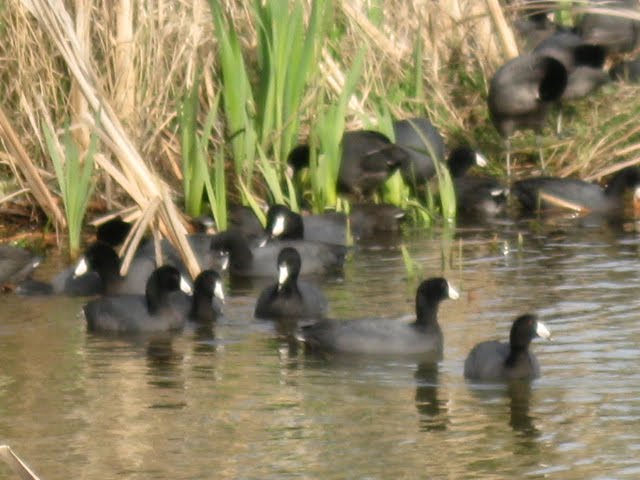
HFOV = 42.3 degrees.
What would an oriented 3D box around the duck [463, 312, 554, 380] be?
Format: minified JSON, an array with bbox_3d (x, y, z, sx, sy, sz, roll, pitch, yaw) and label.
[{"bbox_3d":[1.413,0.856,6.255,0.526,0.513,0.714,1,-4,-30],"label":"duck"}]
